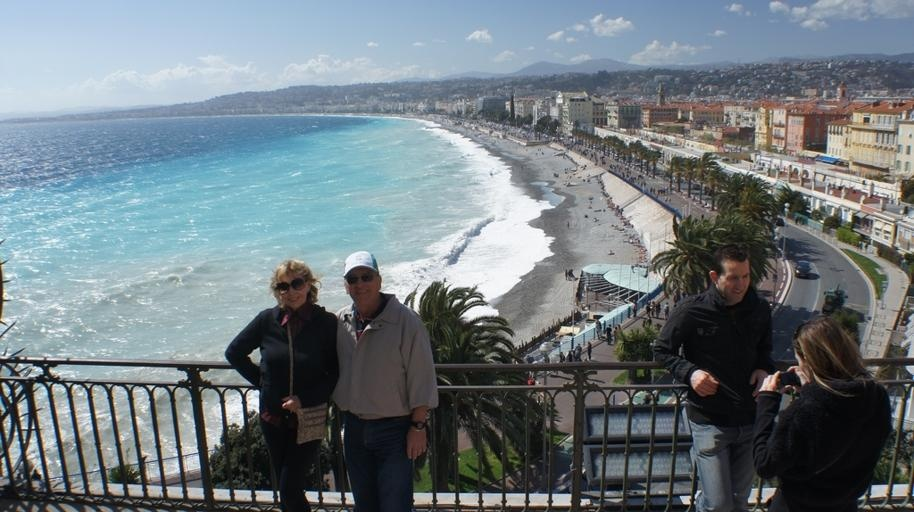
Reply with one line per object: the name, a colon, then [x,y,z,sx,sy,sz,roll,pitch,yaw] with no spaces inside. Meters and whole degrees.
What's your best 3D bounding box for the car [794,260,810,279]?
car: [22.983,0.865,47.678,0.895,0.659,1.746,3,17,24]
